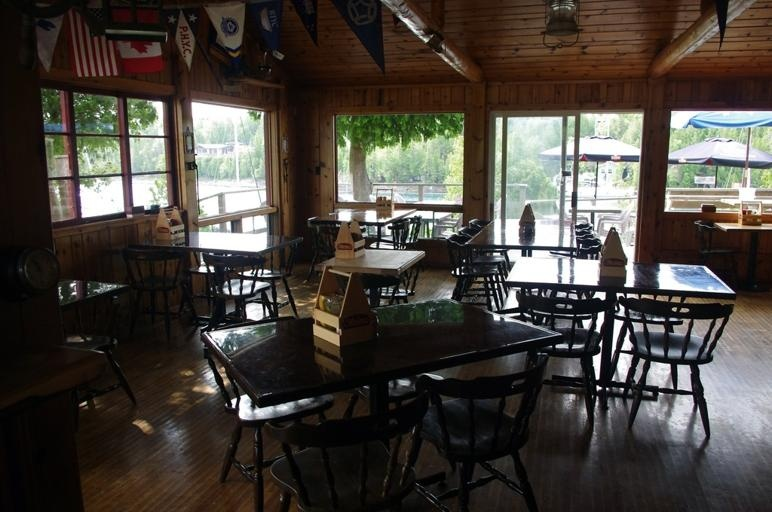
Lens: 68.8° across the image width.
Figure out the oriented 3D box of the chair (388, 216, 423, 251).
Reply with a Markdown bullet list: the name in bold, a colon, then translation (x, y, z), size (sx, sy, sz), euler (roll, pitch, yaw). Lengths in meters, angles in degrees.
- **chair**: translation (0.200, -0.219, 7.388), size (0.354, 0.484, 0.380), euler (4, -16, -4)

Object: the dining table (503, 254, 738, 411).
- **dining table**: translation (1.789, 0.511, 4.544), size (1.163, 0.819, 1.324), euler (3, 26, 11)

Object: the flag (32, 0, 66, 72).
- **flag**: translation (-2.936, -1.884, 4.959), size (0.222, 0.443, 0.557), euler (-7, 10, -28)

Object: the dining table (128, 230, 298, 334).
- **dining table**: translation (-1.661, 0.457, 6.036), size (1.444, 0.963, 1.012), euler (3, 16, 5)

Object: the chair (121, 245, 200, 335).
- **chair**: translation (-2.362, 0.398, 5.645), size (0.680, 0.828, 0.665), euler (3, 7, 23)

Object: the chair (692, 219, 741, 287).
- **chair**: translation (4.586, 0.013, 7.779), size (0.656, 0.941, 0.657), euler (0, 5, -8)

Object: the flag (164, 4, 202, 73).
- **flag**: translation (-1.960, -2.104, 5.464), size (0.213, 0.542, 0.331), euler (-11, 12, -44)

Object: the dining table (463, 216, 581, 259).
- **dining table**: translation (1.517, -0.131, 6.173), size (1.040, 0.357, 1.547), euler (1, 8, 17)

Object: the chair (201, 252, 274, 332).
- **chair**: translation (-1.401, 0.336, 5.613), size (0.593, 0.793, 0.612), euler (-12, 15, -13)

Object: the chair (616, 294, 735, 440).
- **chair**: translation (2.127, 0.861, 4.176), size (0.825, 1.154, 0.848), euler (4, 7, 25)
